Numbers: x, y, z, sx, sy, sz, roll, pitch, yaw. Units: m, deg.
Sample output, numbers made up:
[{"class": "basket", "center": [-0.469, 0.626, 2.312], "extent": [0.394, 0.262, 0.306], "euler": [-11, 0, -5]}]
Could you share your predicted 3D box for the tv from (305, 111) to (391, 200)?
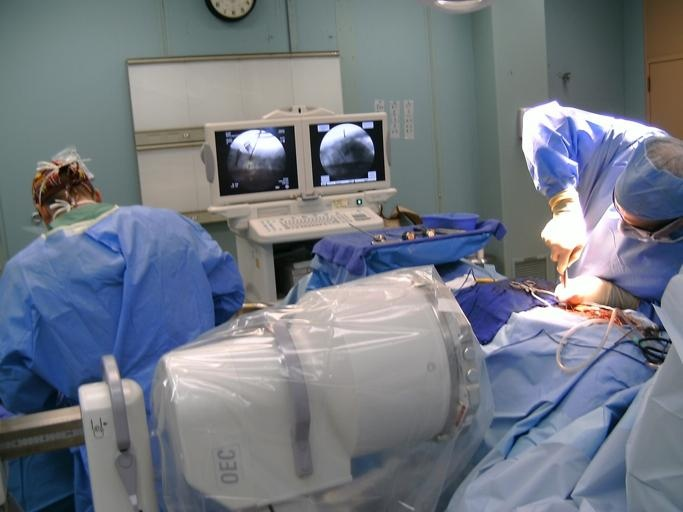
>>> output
[{"class": "tv", "center": [0.017, -0.614, 3.530], "extent": [0.438, 0.450, 0.051], "euler": [-8, 13, -20]}]

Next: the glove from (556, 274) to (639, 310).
[{"class": "glove", "center": [0.876, 0.136, 1.989], "extent": [0.289, 0.125, 0.139], "euler": [-11, 8, -18]}]

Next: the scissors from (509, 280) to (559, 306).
[{"class": "scissors", "center": [0.686, 0.132, 2.026], "extent": [0.068, 0.011, 0.128], "euler": [-11, 17, -18]}]

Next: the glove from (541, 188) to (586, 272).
[{"class": "glove", "center": [0.824, -0.082, 2.148], "extent": [0.143, 0.097, 0.387], "euler": [-30, 30, 41]}]
